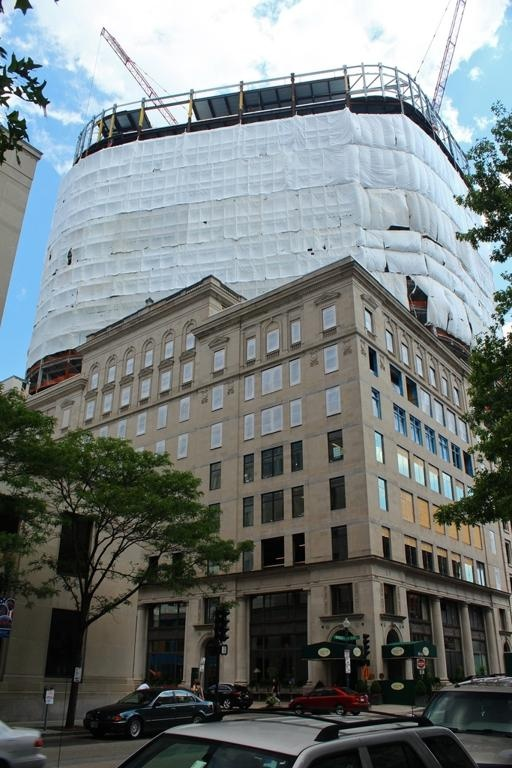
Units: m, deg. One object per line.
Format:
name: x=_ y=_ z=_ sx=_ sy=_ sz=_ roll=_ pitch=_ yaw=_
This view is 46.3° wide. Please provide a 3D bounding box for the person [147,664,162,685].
person: x=-8.341 y=23.579 z=48.886 sx=0.920 sy=1.269 sz=2.402 roll=12 pitch=-26 yaw=-24
